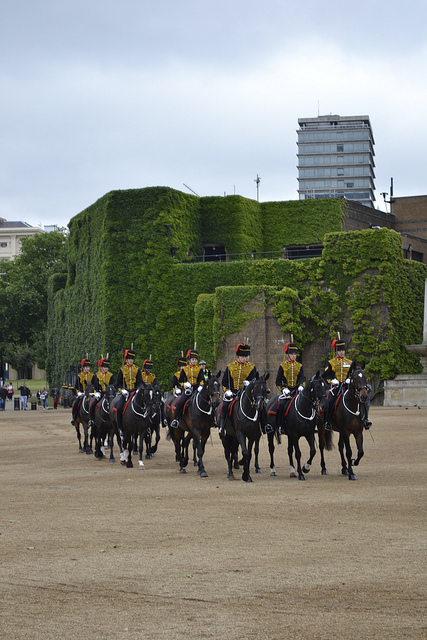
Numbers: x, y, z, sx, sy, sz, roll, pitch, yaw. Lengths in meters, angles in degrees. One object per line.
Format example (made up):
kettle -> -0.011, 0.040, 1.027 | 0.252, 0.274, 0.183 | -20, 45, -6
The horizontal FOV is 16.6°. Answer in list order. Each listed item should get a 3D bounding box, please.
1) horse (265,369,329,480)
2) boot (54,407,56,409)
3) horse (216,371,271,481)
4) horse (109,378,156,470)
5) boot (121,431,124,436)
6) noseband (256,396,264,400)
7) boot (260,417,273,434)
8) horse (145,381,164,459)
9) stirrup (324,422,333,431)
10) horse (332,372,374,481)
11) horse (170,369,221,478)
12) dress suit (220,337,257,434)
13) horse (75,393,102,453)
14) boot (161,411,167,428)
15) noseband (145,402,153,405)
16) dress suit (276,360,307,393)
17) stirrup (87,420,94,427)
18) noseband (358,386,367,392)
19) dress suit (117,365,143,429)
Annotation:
horse -> 1.473, 1.923, 25.828 | 1.038, 1.860, 2.389 | -2, -3, 0
boot -> -7.250, 4.291, 68.005 | 0.107, 0.133, 0.118 | 0, 1, 5
horse -> 0.467, 1.987, 25.586 | 0.672, 1.851, 2.448 | -1, -4, -14
horse -> -1.502, 2.127, 28.164 | 0.528, 1.648, 2.727 | -1, -3, -12
boot -> -1.745, 2.317, 28.647 | 0.067, 0.093, 0.074 | 1, 1, 4
noseband -> 0.769, 1.346, 24.050 | 0.104, 0.051, 0.082 | -3, -3, 4
boot -> 0.917, 1.959, 25.951 | 0.268, 0.324, 0.211 | -2, 2, -6
horse -> -1.196, 2.408, 30.872 | 0.498, 2.283, 0.534 | -1, -1, -17
stirrup -> 2.081, 2.050, 26.457 | 0.134, 0.161, 0.036 | 27, 4, -2
horse -> 2.427, 1.966, 26.057 | 0.555, 1.916, 2.499 | -3, -7, -6
horse -> -0.331, 2.058, 27.040 | 0.564, 1.834, 2.413 | 1, -6, -20
dress suit -> 0.398, 1.408, 26.373 | 0.473, 1.886, 0.547 | 9, 1, 8
horse -> -2.676, 2.215, 32.012 | 0.371, 1.363, 1.741 | 3, 9, -13
boot -> -1.047, 2.329, 32.171 | 0.098, 0.355, 0.230 | -1, 17, -9
noseband -> -1.144, 1.619, 26.998 | 0.144, 0.038, 0.044 | -5, -4, 43
dress suit -> 1.430, 1.063, 26.601 | 0.571, 0.869, 0.473 | 3, -22, -5
stirrup -> -2.587, 2.305, 31.342 | 0.153, 0.176, 0.040 | 5, 2, 6
noseband -> 2.572, 1.233, 24.949 | 0.175, 0.073, 0.194 | -2, -3, -17
dress suit -> -1.665, 1.586, 29.488 | 0.433, 1.609, 0.471 | 2, -10, 2
